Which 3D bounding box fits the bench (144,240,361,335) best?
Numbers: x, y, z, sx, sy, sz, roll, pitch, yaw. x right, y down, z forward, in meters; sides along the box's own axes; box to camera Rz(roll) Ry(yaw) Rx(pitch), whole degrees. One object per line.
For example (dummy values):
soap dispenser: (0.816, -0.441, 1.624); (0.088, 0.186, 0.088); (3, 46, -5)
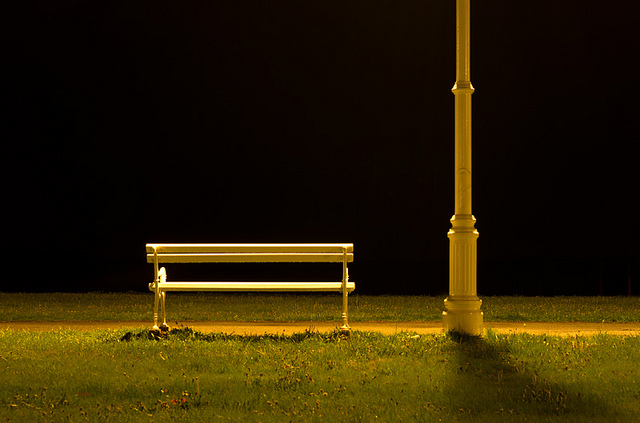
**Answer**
bench: (-1.403, 1.559, 20.719); (4.238, 1.995, 1.731); (0, 4, -3)
